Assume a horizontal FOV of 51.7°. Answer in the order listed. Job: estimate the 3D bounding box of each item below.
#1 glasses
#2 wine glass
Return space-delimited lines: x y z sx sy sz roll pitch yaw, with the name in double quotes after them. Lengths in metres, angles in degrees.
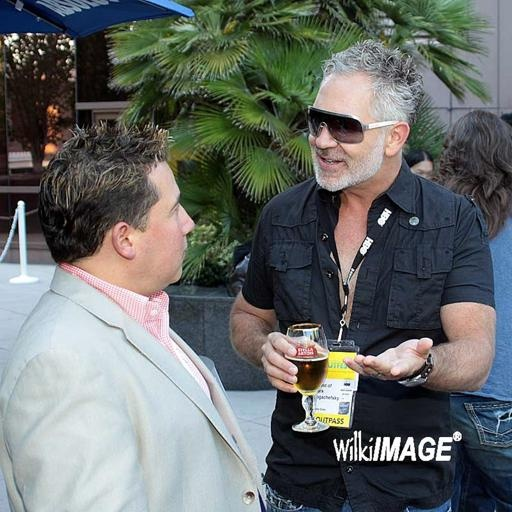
0.328 -0.447 1.815 0.306 0.122 0.148 5 13 13 "glasses"
0.154 0.360 1.530 0.130 0.360 0.200 3 12 9 "wine glass"
